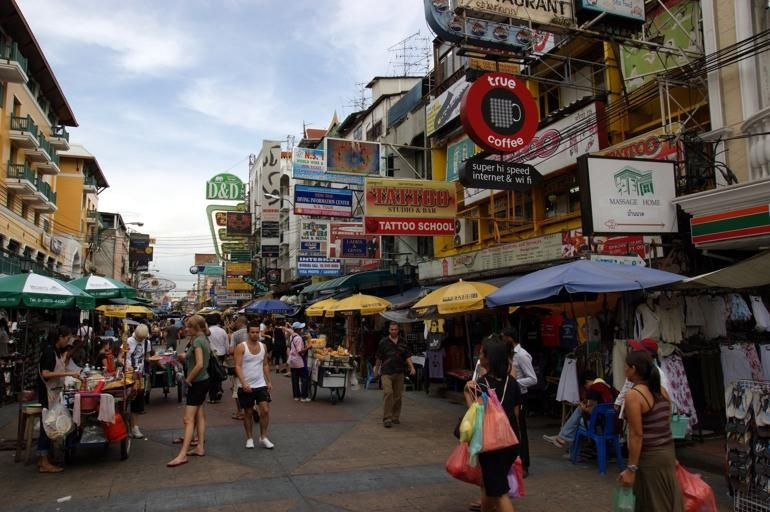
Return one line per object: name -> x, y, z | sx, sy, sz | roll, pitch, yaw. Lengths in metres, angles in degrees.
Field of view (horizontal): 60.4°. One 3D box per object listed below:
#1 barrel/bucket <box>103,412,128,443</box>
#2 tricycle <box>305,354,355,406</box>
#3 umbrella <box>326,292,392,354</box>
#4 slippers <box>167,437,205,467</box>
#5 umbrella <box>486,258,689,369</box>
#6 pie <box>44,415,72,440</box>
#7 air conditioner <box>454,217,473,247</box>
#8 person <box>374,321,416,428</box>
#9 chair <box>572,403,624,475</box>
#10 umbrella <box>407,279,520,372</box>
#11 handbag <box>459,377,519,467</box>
barrel/bucket -> -5.285, 3.345, 13.013 | 0.325, 0.551, 0.485 | -4, -10, 20
tricycle -> -1.684, 3.646, 19.427 | 1.119, 1.367, 1.804 | 7, -12, -18
umbrella -> -0.726, 2.030, 21.369 | 1.525, 1.607, 0.944 | -3, -7, 38
slippers -> -3.955, 3.928, 13.248 | 0.288, 0.364, 0.833 | -8, -14, 24
umbrella -> 4.355, 1.171, 14.931 | 3.726, 1.991, 1.936 | 0, 0, 16
pie -> -6.202, 3.221, 12.594 | 0.424, 0.481, 0.338 | 12, -4, -20
air conditioner -> 2.909, -0.888, 24.969 | 0.421, 0.997, 1.090 | 6, -11, -36
person -> 0.237, 2.881, 16.433 | 0.856, 2.534, 0.967 | 0, -9, 0
chair -> 4.118, 3.492, 12.934 | 0.979, 1.261, 0.946 | -2, -9, 9
umbrella -> 1.951, 0.897, 16.513 | 1.644, 0.636, 1.667 | -4, 8, 31
handbag -> 1.558, 2.545, 10.109 | 0.825, 1.187, 0.290 | -1, -9, 8
